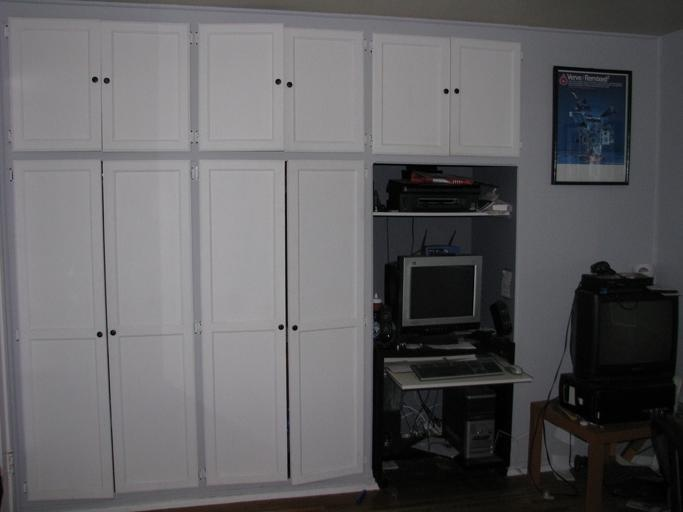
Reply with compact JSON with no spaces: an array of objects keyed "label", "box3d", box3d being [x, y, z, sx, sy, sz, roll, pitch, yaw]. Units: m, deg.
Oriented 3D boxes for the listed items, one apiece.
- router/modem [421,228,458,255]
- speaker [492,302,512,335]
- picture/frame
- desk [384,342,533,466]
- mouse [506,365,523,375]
[{"label":"router/modem","box3d":[0.764,-0.144,5.065,0.344,0.251,0.183,-1,1,-12]},{"label":"speaker","box3d":[1.202,0.468,4.815,0.157,0.259,0.085,2,7,14]},{"label":"picture/frame","box3d":[1.869,-1.014,4.847,0.902,1.072,0.072,0,6,-16]},{"label":"desk","box3d":[0.723,1.206,4.882,0.984,0.904,0.784,1,5,-8]},{"label":"mouse","box3d":[1.265,0.819,4.663,0.110,0.043,0.105,6,10,38]}]
